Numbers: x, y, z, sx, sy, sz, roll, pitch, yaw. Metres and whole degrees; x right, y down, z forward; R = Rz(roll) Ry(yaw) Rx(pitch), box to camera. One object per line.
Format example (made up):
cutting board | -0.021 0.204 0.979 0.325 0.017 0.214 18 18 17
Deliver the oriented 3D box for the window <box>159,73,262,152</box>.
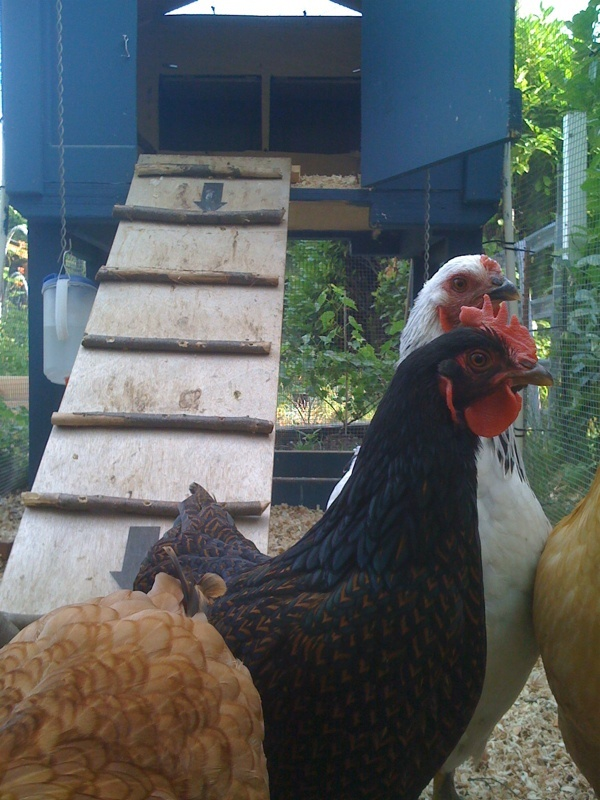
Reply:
window | -0.827 -2.723 7.345 1.324 0.837 0.679 0 11 0
